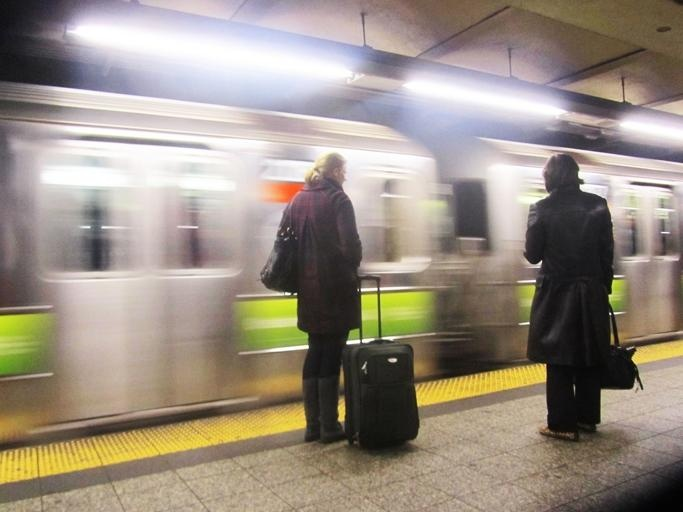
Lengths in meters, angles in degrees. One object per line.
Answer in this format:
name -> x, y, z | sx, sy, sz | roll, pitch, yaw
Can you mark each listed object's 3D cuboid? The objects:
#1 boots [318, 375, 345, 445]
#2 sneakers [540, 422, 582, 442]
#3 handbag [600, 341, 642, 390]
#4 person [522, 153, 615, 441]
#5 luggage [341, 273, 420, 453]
boots -> -0.080, 1.245, 4.402 | 0.214, 0.547, 0.123 | -3, 4, -19
sneakers -> 1.834, 1.440, 4.442 | 0.119, 0.119, 0.292 | -3, 4, -44
handbag -> 2.294, 0.932, 4.558 | 0.391, 0.433, 0.332 | -1, -2, 4
person -> 1.922, 0.303, 4.517 | 0.669, 2.374, 0.569 | 1, 5, 25
luggage -> 0.318, 1.107, 4.241 | 0.586, 0.804, 0.262 | -1, 4, -2
